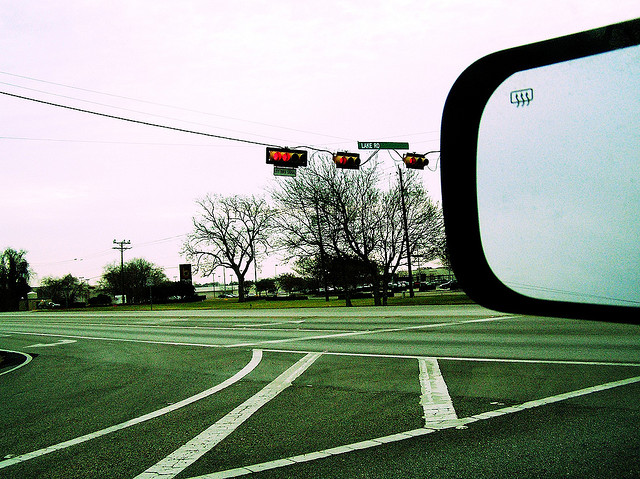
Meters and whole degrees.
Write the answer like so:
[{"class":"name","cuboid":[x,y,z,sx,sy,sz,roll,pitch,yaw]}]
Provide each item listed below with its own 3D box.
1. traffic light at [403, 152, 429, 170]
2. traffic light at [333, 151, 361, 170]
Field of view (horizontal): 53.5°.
[{"class":"traffic light","cuboid":[3.332,-2.614,21.749,0.775,0.439,1.000,-8,-6,8]},{"class":"traffic light","cuboid":[0.904,-2.545,20.586,0.738,0.366,0.682,-9,-6,19]}]
